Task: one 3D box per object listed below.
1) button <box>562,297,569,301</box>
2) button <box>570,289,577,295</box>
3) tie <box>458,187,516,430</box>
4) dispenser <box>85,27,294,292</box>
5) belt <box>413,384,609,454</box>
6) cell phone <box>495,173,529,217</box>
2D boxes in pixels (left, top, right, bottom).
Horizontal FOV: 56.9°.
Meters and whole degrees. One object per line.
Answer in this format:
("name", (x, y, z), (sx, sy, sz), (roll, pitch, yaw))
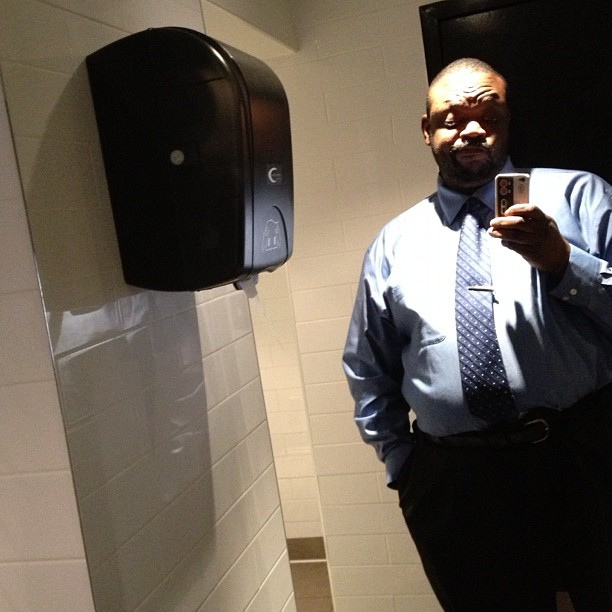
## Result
("button", (0.572, -0.017, 1.248), (0.009, 0.009, 0.002), (3, 3, 4))
("button", (0.581, -0.032, 1.230), (0.012, 0.013, 0.003), (2, 2, 28))
("tie", (0.431, -0.008, 1.371), (0.121, 0.557, 0.247), (0, 7, 14))
("dispenser", (-0.176, -0.246, 1.008), (0.307, 0.459, 0.312), (-2, 10, 2))
("belt", (0.470, 0.284, 1.320), (0.262, 0.066, 0.209), (-15, 10, 17))
("cell phone", (0.441, -0.243, 1.216), (0.068, 0.091, 0.063), (0, 7, 19))
